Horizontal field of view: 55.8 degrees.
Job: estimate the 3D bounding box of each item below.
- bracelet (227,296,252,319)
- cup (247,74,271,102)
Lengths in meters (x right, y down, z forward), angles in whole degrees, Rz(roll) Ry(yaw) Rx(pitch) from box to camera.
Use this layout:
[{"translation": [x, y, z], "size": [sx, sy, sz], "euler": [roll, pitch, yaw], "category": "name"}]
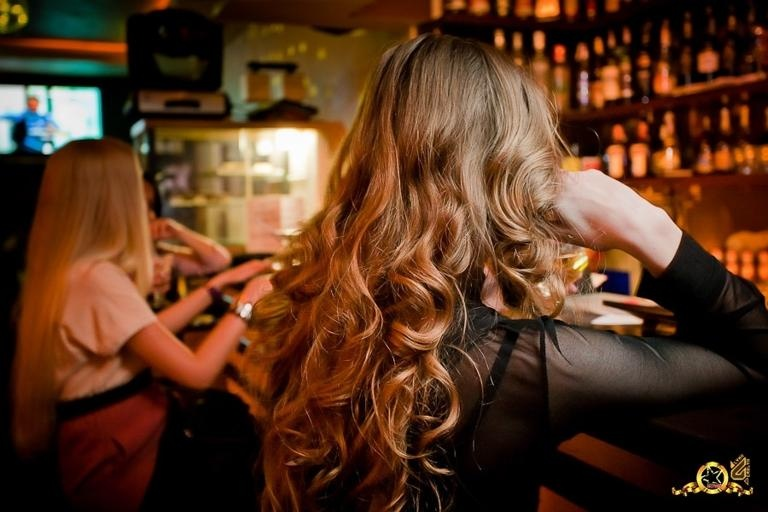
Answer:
[{"translation": [-0.479, 0.177, 2.443], "size": [0.061, 0.060, 0.022], "euler": [-32, -7, 4], "category": "bracelet"}, {"translation": [-0.620, -0.834, 3.606], "size": [0.136, 0.130, 0.133], "euler": [2, 11, 0], "category": "cup"}]
